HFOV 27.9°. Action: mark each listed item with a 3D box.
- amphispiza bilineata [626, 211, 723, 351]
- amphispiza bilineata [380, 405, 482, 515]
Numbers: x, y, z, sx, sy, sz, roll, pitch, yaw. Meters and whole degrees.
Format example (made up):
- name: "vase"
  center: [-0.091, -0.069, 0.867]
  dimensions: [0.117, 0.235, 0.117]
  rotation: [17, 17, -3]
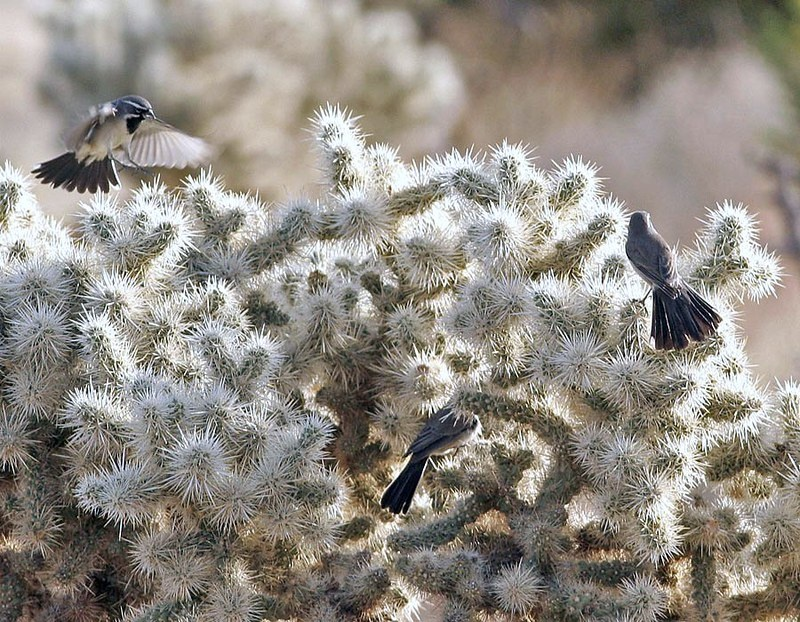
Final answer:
- name: "amphispiza bilineata"
  center: [0.832, -0.094, 4.966]
  dimensions: [0.222, 0.255, 0.424]
  rotation: [-6, 34, -12]
- name: "amphispiza bilineata"
  center: [0.091, 0.470, 5.054]
  dimensions: [0.312, 0.419, 0.226]
  rotation: [-3, 32, -8]
